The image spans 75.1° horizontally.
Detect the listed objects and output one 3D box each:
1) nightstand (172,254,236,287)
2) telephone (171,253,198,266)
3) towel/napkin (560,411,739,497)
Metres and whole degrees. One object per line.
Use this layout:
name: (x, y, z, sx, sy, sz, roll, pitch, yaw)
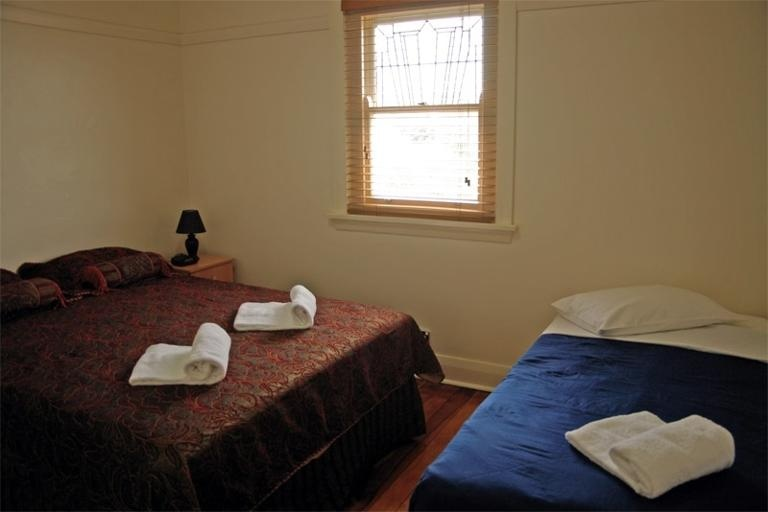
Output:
nightstand: (-1.496, 0.028, 4.179, 0.261, 0.357, 0.366, 5, 14, 20)
telephone: (-1.660, 0.034, 4.098, 0.122, 0.056, 0.133, 6, 11, 24)
towel/napkin: (1.089, 0.769, 2.125, 0.588, 0.174, 0.599, 3, -2, 12)
